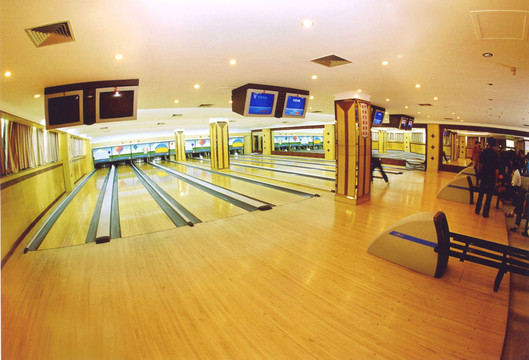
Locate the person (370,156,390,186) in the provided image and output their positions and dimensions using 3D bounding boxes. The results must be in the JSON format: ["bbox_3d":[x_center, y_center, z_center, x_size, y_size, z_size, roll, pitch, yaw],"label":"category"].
[{"bbox_3d":[3.495,-0.383,8.881,0.485,0.855,2.159,2,11,23],"label":"person"}]

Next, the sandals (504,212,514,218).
[{"bbox_3d":[4.591,0.659,5.556,0.081,0.060,0.157,-7,4,22],"label":"sandals"}]

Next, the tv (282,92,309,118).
[{"bbox_3d":[0.618,-1.500,6.014,0.677,0.463,0.062,-9,24,-44],"label":"tv"}]

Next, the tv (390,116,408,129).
[{"bbox_3d":[4.398,-1.898,9.769,0.513,0.488,0.572,5,13,35],"label":"tv"}]

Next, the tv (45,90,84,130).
[{"bbox_3d":[-3.132,-1.080,4.640,0.624,0.567,0.055,-6,-1,5],"label":"tv"}]

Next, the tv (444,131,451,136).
[{"bbox_3d":[6.566,-1.668,10.603,0.213,0.164,0.082,6,14,41],"label":"tv"}]

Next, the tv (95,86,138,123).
[{"bbox_3d":[-2.521,-1.297,4.882,0.350,0.598,0.667,36,36,28],"label":"tv"}]

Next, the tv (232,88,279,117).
[{"bbox_3d":[-0.124,-1.452,5.660,0.687,0.479,0.383,-9,12,-33],"label":"tv"}]
